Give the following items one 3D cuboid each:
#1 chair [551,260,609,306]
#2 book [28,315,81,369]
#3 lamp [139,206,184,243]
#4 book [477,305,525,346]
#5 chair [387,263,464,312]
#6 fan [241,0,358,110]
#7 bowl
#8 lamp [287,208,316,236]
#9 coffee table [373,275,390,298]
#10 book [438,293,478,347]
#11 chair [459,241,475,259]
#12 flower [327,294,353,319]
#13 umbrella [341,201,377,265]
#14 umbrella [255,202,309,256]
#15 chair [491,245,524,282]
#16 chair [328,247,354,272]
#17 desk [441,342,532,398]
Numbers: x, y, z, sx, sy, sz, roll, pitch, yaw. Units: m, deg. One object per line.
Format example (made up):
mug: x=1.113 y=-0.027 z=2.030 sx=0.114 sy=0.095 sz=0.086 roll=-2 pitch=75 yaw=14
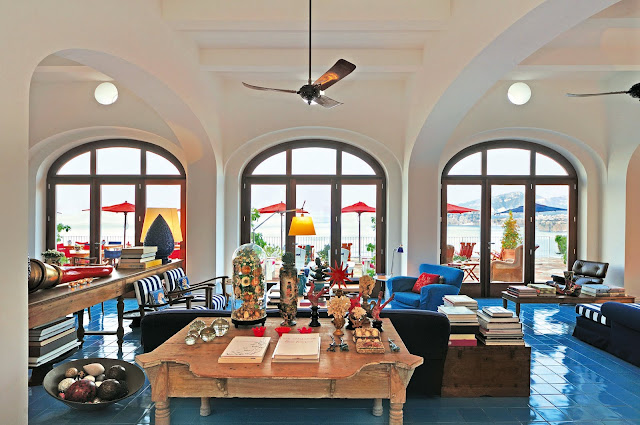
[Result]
chair: x=4.915 y=1.351 z=9.516 sx=1.057 sy=1.023 sz=1.056 roll=4 pitch=-2 yaw=-10
book: x=-3.592 y=1.747 z=6.453 sx=0.545 sy=0.336 sz=0.737 roll=-3 pitch=4 yaw=18
lamp: x=-2.888 y=0.235 z=8.876 sx=0.745 sy=0.539 sz=0.698 roll=2 pitch=-4 yaw=-33
book: x=2.394 y=1.512 z=6.352 sx=0.495 sy=0.313 sz=0.653 roll=-1 pitch=1 yaw=6
chair: x=1.953 y=1.389 z=8.621 sx=1.011 sy=1.013 sz=1.179 roll=8 pitch=-7 yaw=-27
fan: x=-0.085 y=-2.123 z=7.263 sx=1.723 sy=1.765 sz=1.655 roll=1 pitch=7 yaw=2
bowl: x=-2.737 y=2.156 z=6.038 sx=0.945 sy=0.214 sz=0.907 roll=6 pitch=28 yaw=-3
lamp: x=-0.267 y=0.195 z=7.622 sx=0.543 sy=0.505 sz=0.505 roll=0 pitch=-3 yaw=-2
coffee table: x=1.258 y=1.547 z=9.826 sx=0.327 sy=0.534 sz=1.100 roll=-1 pitch=-3 yaw=6
book: x=1.888 y=1.420 z=6.420 sx=0.528 sy=0.352 sz=0.767 roll=0 pitch=2 yaw=4
chair: x=3.206 y=0.835 z=10.382 sx=0.306 sy=0.374 sz=0.363 roll=1 pitch=5 yaw=16
flower: x=0.232 y=1.069 z=5.421 sx=0.263 sy=0.244 sz=0.254 roll=1 pitch=-2 yaw=-2
umbrella: x=0.869 y=0.387 z=10.805 sx=1.190 sy=1.551 sz=1.152 roll=0 pitch=-3 yaw=1
umbrella: x=-0.801 y=0.145 z=9.766 sx=1.200 sy=1.190 sz=1.157 roll=1 pitch=-5 yaw=-5
chair: x=4.291 y=1.183 z=10.788 sx=0.826 sy=0.934 sz=0.733 roll=1 pitch=-3 yaw=12
chair: x=0.521 y=0.977 z=9.941 sx=0.621 sy=0.764 sz=0.576 roll=0 pitch=-8 yaw=6
desk: x=2.217 y=2.089 z=6.239 sx=1.019 sy=0.485 sz=0.762 roll=0 pitch=0 yaw=8
